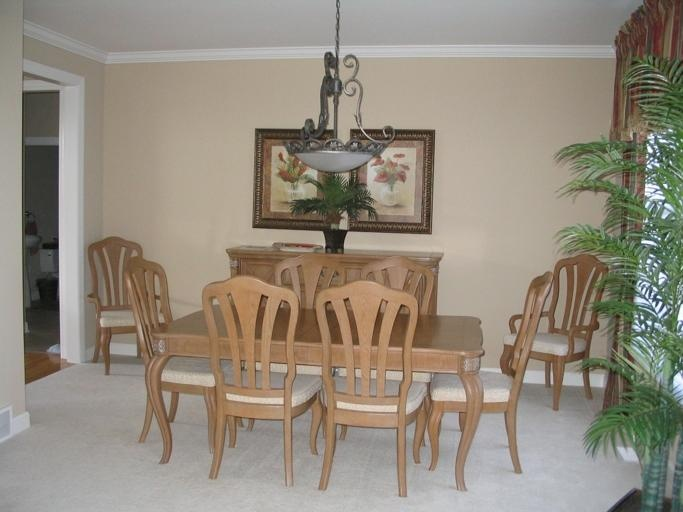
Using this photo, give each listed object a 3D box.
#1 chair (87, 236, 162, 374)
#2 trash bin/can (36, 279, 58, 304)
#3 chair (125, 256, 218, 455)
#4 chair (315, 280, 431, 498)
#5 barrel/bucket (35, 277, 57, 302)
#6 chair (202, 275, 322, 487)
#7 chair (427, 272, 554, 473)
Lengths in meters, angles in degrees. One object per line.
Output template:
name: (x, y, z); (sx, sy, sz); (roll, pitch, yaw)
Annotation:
chair: (-2.378, 0.549, 6.145); (0.695, 1.388, 0.706); (1, 10, -7)
trash bin/can: (-4.189, 0.484, 8.090); (0.253, 0.338, 0.226); (4, 15, 2)
chair: (-1.228, 0.782, 4.436); (0.733, 1.506, 0.759); (6, -3, 6)
chair: (0.251, 0.823, 4.108); (0.798, 1.465, 0.870); (2, 10, 5)
barrel/bucket: (-4.178, 0.477, 8.088); (0.270, 0.414, 0.158); (-5, 12, -32)
chair: (-0.580, 0.860, 4.143); (0.841, 1.471, 0.836); (4, 7, 24)
chair: (1.101, 0.813, 4.366); (0.869, 1.514, 0.820); (3, 1, 2)
